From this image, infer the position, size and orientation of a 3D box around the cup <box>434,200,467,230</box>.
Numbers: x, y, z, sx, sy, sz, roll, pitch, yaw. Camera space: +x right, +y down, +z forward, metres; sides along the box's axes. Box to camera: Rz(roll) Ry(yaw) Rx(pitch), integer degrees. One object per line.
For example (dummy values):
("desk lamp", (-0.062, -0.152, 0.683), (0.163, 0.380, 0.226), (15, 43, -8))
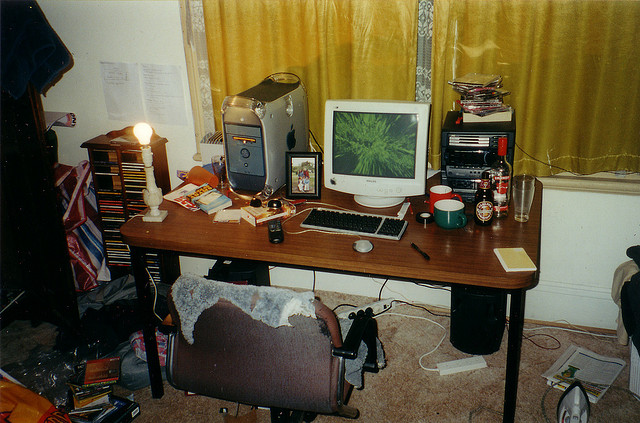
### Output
("cup", (0.735, 0.026, 2.826), (0.138, 0.129, 0.181), (-21, 32, -30))

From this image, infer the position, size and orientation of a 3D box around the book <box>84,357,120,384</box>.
("book", (-1.374, 0.998, 3.092), (0.214, 0.073, 0.156), (-5, 25, -8))

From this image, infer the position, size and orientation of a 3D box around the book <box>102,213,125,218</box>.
("book", (-1.521, 0.031, 3.613), (0.083, 0.021, 0.056), (2, 22, -3))

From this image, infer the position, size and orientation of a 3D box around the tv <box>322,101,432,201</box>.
("tv", (0.359, -0.424, 3.098), (0.626, 0.598, 0.356), (5, 25, 13))

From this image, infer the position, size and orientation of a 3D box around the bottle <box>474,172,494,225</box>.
("bottle", (0.934, -0.075, 2.780), (0.097, 0.277, 0.133), (6, 25, 17))

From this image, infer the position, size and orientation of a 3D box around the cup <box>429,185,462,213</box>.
("cup", (0.737, -0.089, 2.941), (0.190, 0.172, 0.121), (8, 30, 24))

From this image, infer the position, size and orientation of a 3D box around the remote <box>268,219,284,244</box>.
("remote", (-0.246, 0.107, 2.749), (0.081, 0.089, 0.126), (-4, 24, -5))

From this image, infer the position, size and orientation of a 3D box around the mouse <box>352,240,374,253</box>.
("mouse", (0.235, 0.186, 2.661), (0.101, 0.031, 0.101), (12, 27, 26))

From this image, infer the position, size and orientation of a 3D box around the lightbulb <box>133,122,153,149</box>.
("lightbulb", (-1.031, -0.442, 2.859), (0.087, 0.140, 0.103), (-13, 27, -25))

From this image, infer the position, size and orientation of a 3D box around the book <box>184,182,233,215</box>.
("book", (-0.702, -0.086, 3.044), (0.205, 0.049, 0.199), (34, 49, 26))
